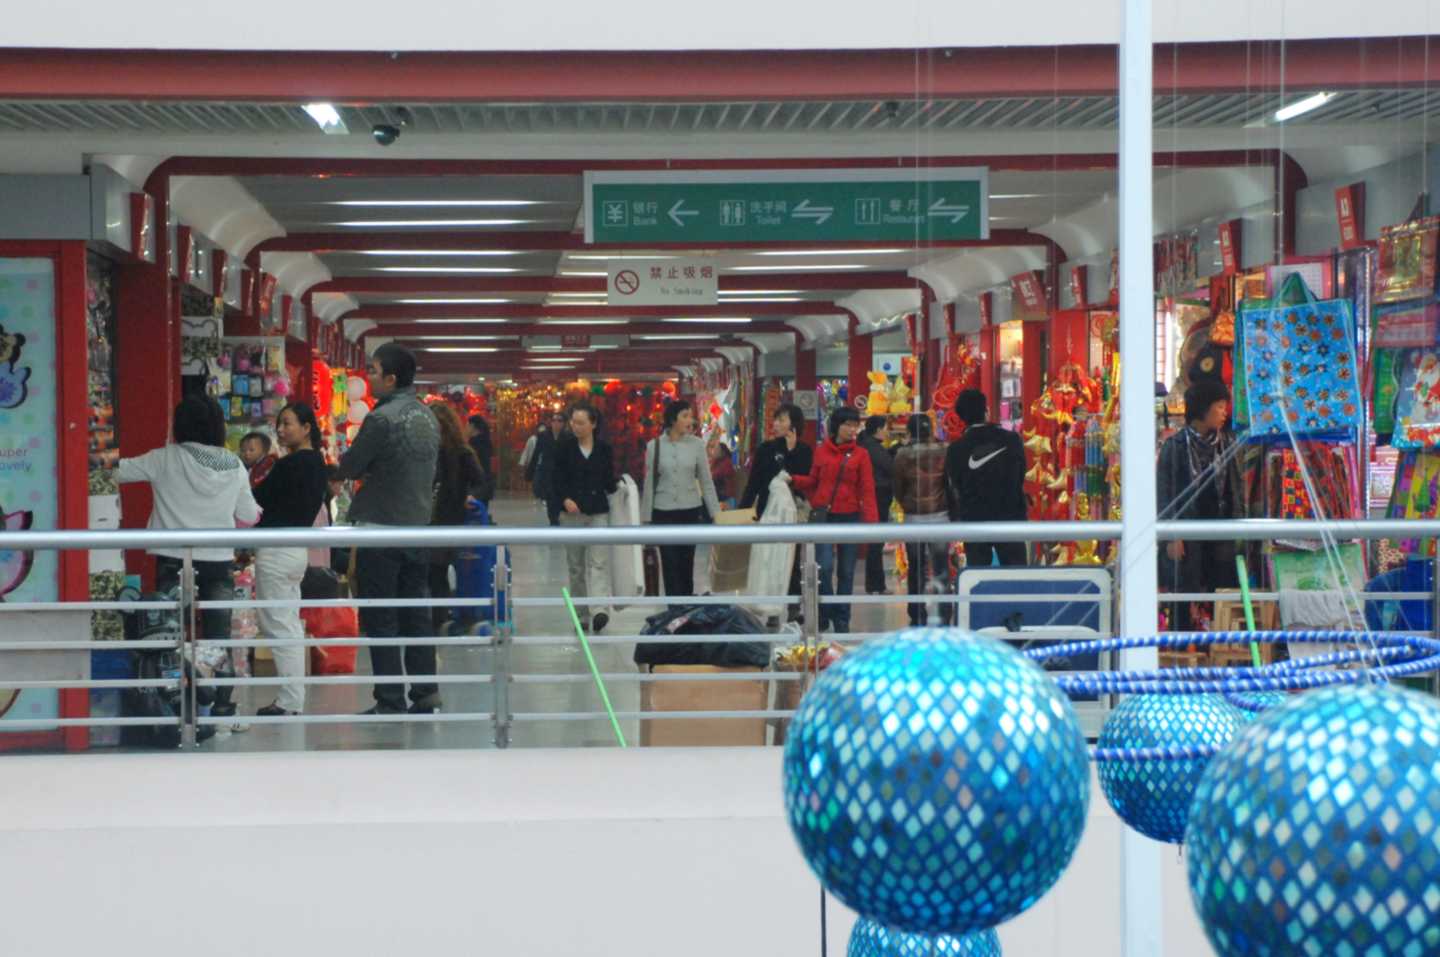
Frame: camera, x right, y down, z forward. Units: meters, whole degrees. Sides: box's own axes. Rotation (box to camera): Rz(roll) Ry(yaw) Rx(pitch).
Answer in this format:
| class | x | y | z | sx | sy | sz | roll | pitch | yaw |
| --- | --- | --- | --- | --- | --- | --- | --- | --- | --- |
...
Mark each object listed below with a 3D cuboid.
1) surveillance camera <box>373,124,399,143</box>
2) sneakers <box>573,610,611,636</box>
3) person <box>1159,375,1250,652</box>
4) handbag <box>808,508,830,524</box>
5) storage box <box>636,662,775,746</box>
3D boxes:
| class | x | y | z | sx | sy | sz | roll | pitch | yaw |
| --- | --- | --- | --- | --- | --- | --- | --- | --- | --- |
| surveillance camera | -1.926 | -1.992 | 12.253 | 0.093 | 0.066 | 0.113 | 0 | -12 | -9 |
| sneakers | -0.849 | 0.932 | 14.131 | 0.233 | 0.158 | 0.394 | 3 | -7 | -8 |
| person | 2.134 | 0.118 | 9.708 | 0.355 | 1.073 | 2.218 | -3 | -7 | 11 |
| handbag | 0.605 | 0.226 | 13.557 | 0.087 | 0.102 | 0.101 | -6 | -10 | 41 |
| storage box | -0.083 | 1.031 | 9.791 | 0.591 | 0.392 | 1.151 | -1 | -7 | 0 |
